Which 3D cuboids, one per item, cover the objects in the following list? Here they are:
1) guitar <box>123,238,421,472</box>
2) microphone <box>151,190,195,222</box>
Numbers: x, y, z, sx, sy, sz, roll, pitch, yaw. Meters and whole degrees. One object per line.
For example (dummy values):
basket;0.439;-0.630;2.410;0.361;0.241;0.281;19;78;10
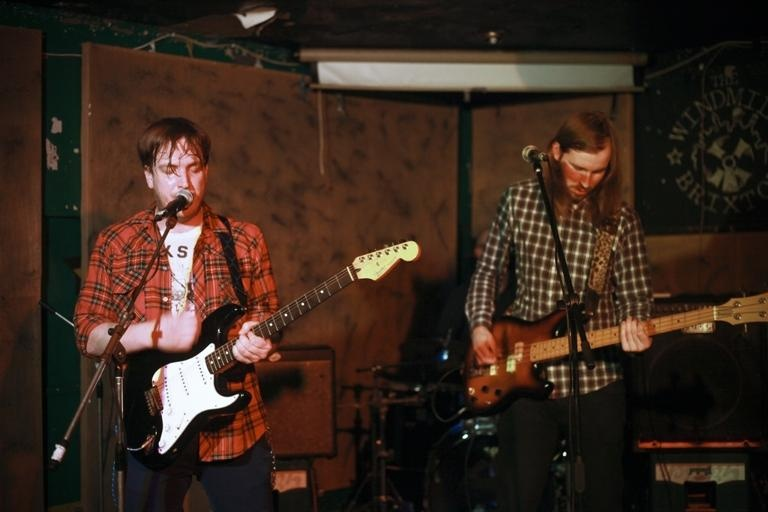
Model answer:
guitar;-0.753;0.664;5.545;1.547;0.580;0.216;-30;-9;-7
microphone;-1.197;-0.291;5.124;0.106;0.105;0.359;-38;5;33
